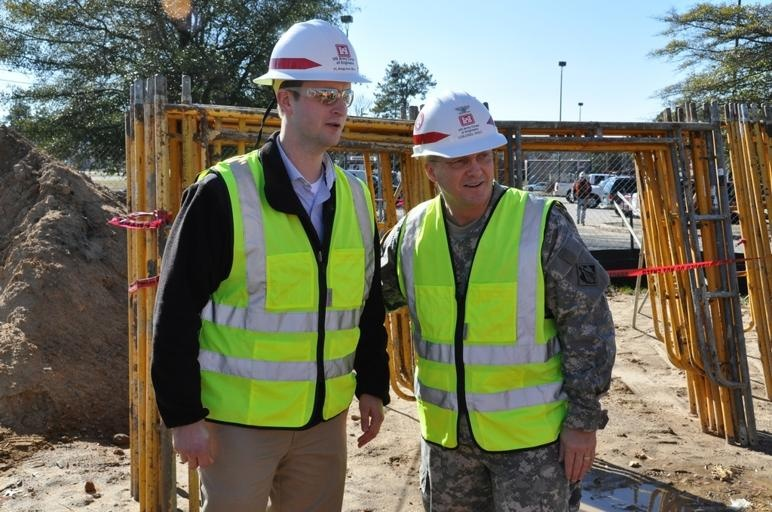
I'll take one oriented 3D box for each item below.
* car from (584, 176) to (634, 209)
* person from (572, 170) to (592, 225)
[{"bbox_3d":[5.554,-1.603,21.555,0.901,0.895,2.028,0,14,12],"label":"car"},{"bbox_3d":[4.472,-1.158,19.709,0.551,1.625,0.507,0,-37,16],"label":"person"}]
